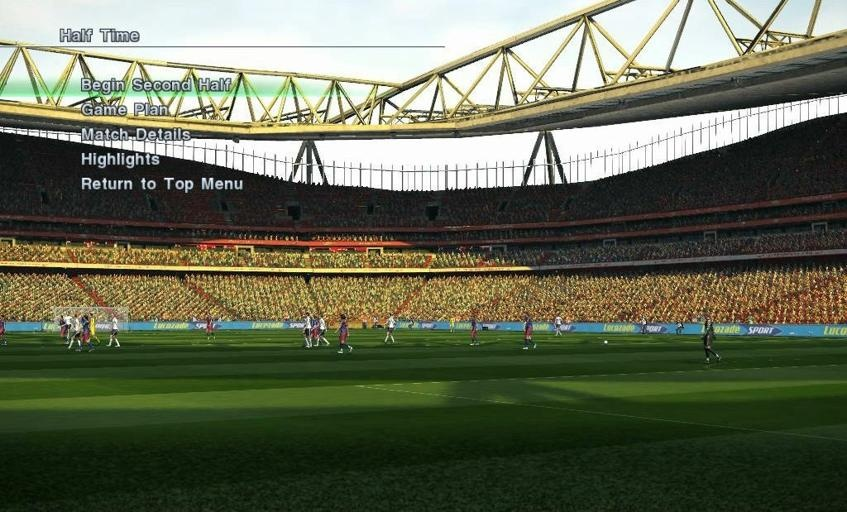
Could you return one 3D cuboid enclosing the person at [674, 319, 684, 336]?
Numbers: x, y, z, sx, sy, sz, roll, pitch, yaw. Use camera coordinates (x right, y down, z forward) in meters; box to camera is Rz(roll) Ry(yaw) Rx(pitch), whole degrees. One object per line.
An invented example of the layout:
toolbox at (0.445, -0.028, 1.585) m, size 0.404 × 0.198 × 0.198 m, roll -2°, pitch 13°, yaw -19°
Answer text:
person at (20.557, 5.697, 70.374) m, size 0.588 × 0.981 × 1.632 m, roll -1°, pitch 3°, yaw 14°
